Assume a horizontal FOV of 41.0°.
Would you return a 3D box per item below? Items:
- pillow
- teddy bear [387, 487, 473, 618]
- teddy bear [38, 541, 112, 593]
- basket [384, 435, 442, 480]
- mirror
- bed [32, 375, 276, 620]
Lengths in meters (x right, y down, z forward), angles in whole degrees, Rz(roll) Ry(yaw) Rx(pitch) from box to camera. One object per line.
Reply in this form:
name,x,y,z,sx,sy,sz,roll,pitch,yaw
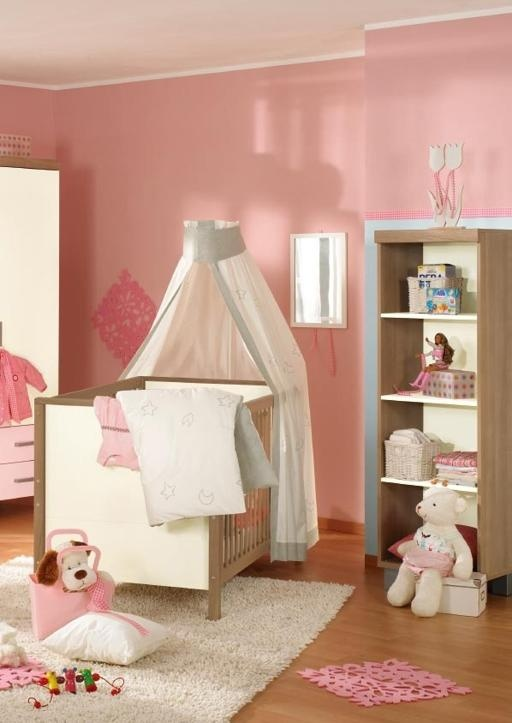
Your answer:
pillow,-0.459,0.831,2.102,0.307,0.109,0.211,1,-2,20
teddy bear,0.651,0.713,2.663,0.280,0.464,0.327,2,-2,-15
teddy bear,-0.603,0.652,2.250,0.193,0.124,0.162,8,-14,-44
basket,0.668,0.385,2.900,0.207,0.159,0.206,1,0,31
mirror,0.341,-0.444,3.742,0.338,0.509,0.065,1,-2,31
bed,-0.330,0.498,2.894,0.819,0.668,0.949,1,3,25
